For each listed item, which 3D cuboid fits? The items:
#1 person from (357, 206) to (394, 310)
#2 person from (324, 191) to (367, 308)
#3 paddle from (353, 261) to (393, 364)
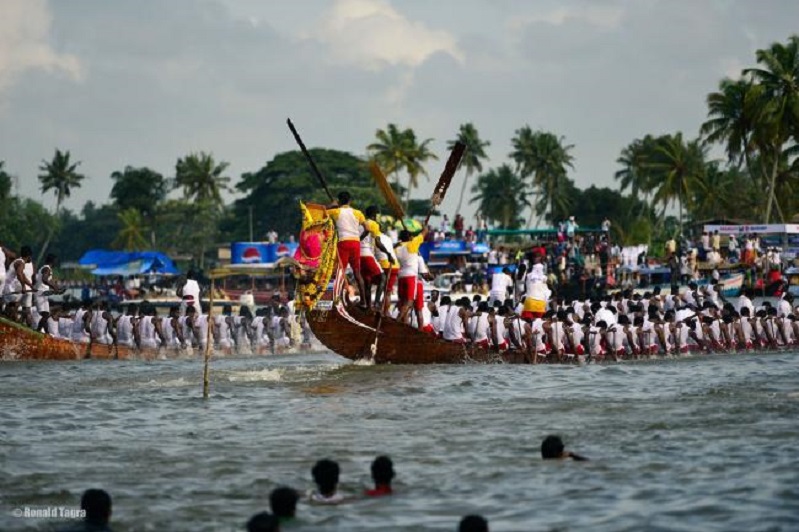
[{"bbox_3d":[-0.633,-0.212,35.938,0.837,2.782,0.896,1,-2,4],"label":"person"},{"bbox_3d":[-1.357,-0.469,35.564,1.052,3.047,0.906,-2,-4,-5],"label":"person"},{"bbox_3d":[-0.443,1.011,35.835,0.476,3.361,0.429,28,-24,-33],"label":"paddle"}]
